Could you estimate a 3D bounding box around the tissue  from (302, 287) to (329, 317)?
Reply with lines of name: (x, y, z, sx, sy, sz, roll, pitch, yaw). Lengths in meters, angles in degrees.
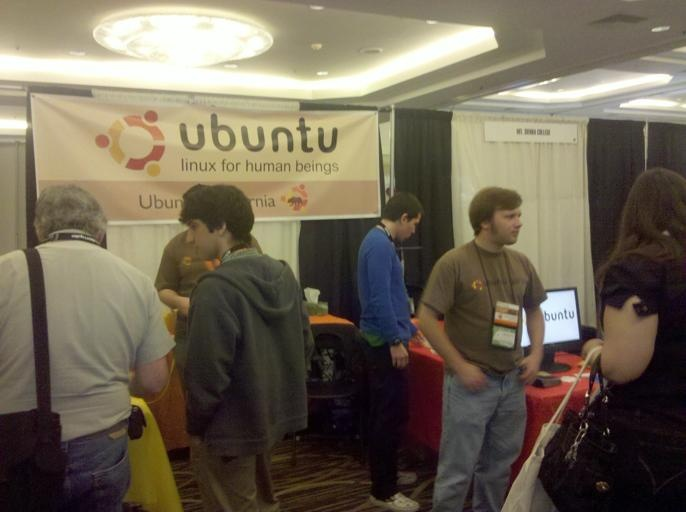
tissue : (-0.222, 0.380, 4.692, 0.161, 0.245, 0.217, 0, -4, -36)

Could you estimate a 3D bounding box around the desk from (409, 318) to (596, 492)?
desk: (1.038, 1.156, 3.741, 0.746, 0.643, 1.212, -1, 8, -21)

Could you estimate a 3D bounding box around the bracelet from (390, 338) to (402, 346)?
bracelet: (0.316, 0.523, 3.415, 0.043, 0.029, 0.062, 0, 2, 0)

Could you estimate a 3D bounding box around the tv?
tv: (1.299, 0.469, 3.535, 0.490, 0.594, 0.210, 0, -7, -15)
